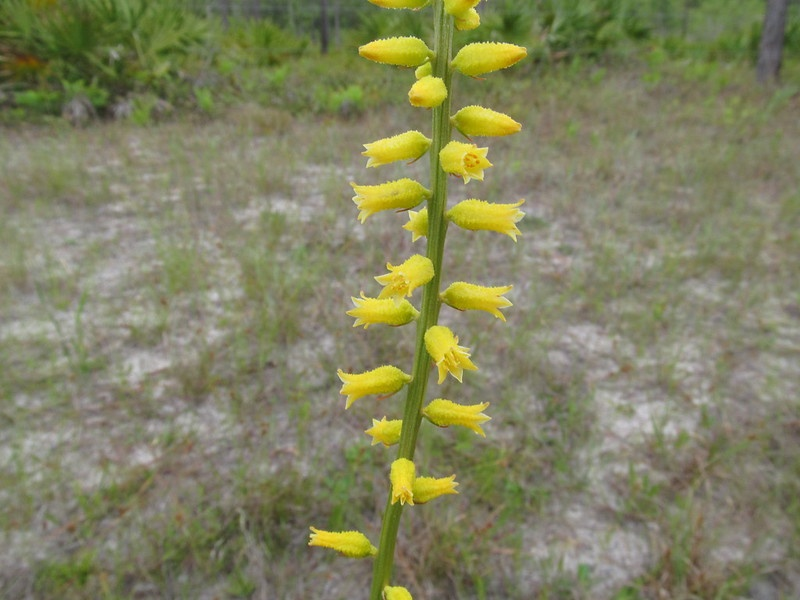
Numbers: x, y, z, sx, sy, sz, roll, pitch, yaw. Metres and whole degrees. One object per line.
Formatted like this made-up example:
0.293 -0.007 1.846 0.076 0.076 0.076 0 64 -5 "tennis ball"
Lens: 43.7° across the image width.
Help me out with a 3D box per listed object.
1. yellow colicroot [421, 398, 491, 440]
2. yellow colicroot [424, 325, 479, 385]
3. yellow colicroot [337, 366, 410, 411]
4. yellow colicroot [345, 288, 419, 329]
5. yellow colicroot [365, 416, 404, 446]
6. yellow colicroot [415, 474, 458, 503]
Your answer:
0.269 0.532 4.662 0.231 0.213 0.165 11 2 9 "yellow colicroot"
0.211 0.219 4.524 0.173 0.162 0.318 -16 34 -6 "yellow colicroot"
-0.114 0.400 4.631 0.323 0.197 0.199 -9 68 -12 "yellow colicroot"
-0.073 0.061 4.590 0.267 0.191 0.157 5 -12 0 "yellow colicroot"
-0.066 0.618 4.708 0.142 0.143 0.061 0 5 -7 "yellow colicroot"
0.170 0.890 4.669 0.195 0.169 0.099 -9 3 -1 "yellow colicroot"
